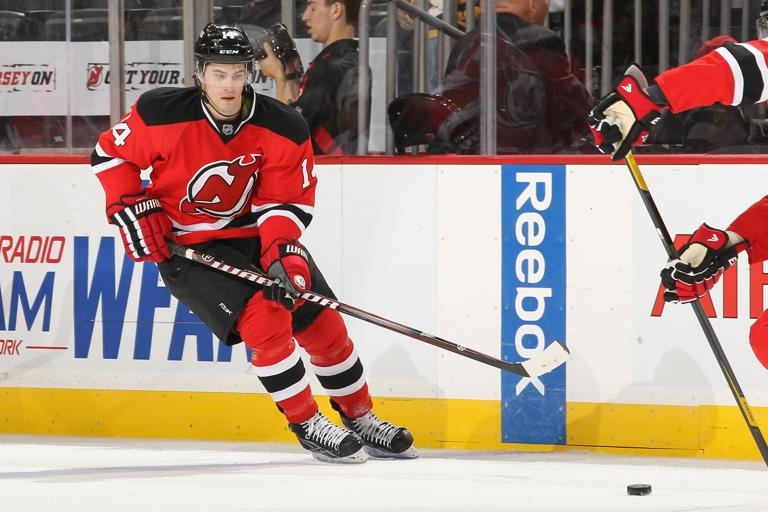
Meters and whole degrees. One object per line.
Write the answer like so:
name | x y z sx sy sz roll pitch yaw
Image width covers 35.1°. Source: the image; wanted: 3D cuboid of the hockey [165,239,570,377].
hockey | 0.006 0.222 5.680 1.709 0.130 0.172 16 -29 3

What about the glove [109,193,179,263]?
glove | -1.091 -0.138 5.532 0.288 0.307 0.128 -24 6 5

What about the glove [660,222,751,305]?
glove | 1.340 0.051 5.206 0.409 0.244 0.181 -41 -11 7

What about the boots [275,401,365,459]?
boots | -0.320 0.788 5.565 0.153 0.194 0.429 -40 26 -23

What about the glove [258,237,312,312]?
glove | -0.427 0.079 5.370 0.227 0.306 0.134 -43 -21 9

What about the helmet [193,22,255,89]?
helmet | -0.739 -0.878 5.320 0.245 0.257 0.287 -2 14 -12

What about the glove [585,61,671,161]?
glove | 0.979 -0.584 4.950 0.189 0.308 0.390 -3 -40 -51

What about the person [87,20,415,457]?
person | -0.741 -0.067 5.385 1.125 1.867 0.491 0 14 -4
